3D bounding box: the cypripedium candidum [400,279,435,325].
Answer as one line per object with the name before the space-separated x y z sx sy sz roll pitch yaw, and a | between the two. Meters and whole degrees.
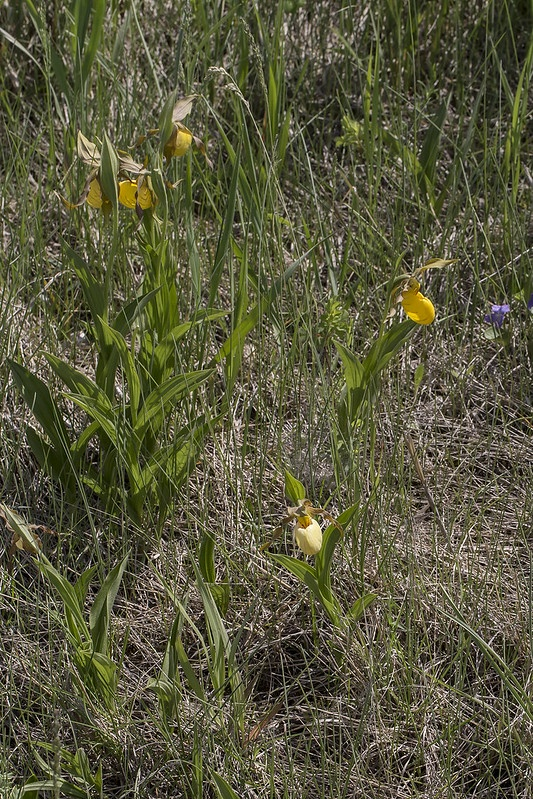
cypripedium candidum | 0.328 -0.211 1.591 0.056 0.042 0.134 -10 83 -53
